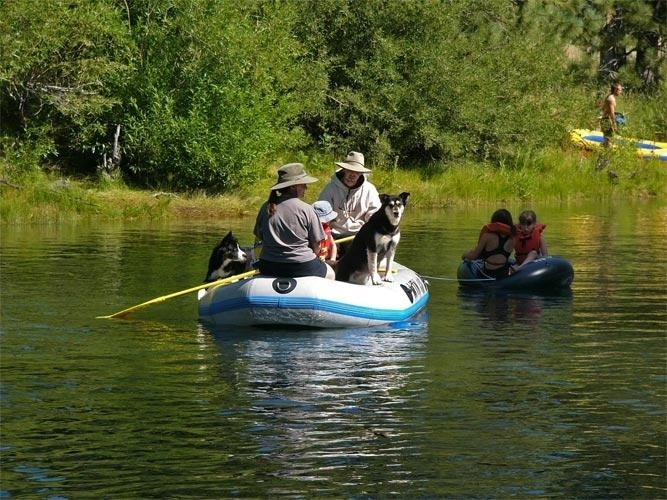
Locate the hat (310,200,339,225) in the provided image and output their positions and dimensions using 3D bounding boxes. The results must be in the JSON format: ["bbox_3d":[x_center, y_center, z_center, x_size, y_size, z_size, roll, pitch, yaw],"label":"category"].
[{"bbox_3d":[-0.147,-0.588,17.590,0.431,0.129,0.280,24,33,-12],"label":"hat"}]

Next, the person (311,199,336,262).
[{"bbox_3d":[-0.167,-0.281,17.320,0.526,0.364,1.073,6,-39,11],"label":"person"}]

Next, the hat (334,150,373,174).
[{"bbox_3d":[0.300,-1.366,18.079,0.459,0.191,0.523,16,1,-8],"label":"hat"}]

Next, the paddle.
[{"bbox_3d":[-1.554,0.454,18.047,5.238,0.241,0.522,-12,21,-32],"label":"paddle"}]

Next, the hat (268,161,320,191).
[{"bbox_3d":[-0.601,-1.057,16.495,0.581,0.403,0.510,1,12,-3],"label":"hat"}]
